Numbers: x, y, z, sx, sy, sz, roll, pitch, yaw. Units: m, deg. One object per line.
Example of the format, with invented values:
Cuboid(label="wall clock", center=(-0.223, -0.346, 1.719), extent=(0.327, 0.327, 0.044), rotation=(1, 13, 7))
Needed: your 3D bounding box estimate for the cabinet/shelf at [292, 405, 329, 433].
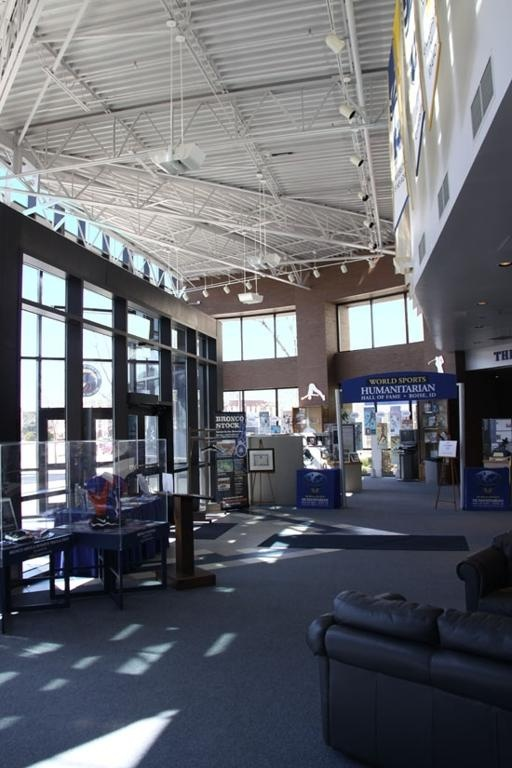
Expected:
Cuboid(label="cabinet/shelf", center=(1.743, 1.102, 18.420), extent=(0.755, 0.787, 0.259), rotation=(-4, -10, 26))

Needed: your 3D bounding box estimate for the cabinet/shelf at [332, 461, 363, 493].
Cuboid(label="cabinet/shelf", center=(2.212, 2.140, 13.535), extent=(0.741, 0.687, 0.537), rotation=(4, -4, -30))

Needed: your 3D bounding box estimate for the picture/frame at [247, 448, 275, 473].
Cuboid(label="picture/frame", center=(0.082, 1.471, 11.343), extent=(0.433, 0.489, 0.049), rotation=(0, -3, -7))
